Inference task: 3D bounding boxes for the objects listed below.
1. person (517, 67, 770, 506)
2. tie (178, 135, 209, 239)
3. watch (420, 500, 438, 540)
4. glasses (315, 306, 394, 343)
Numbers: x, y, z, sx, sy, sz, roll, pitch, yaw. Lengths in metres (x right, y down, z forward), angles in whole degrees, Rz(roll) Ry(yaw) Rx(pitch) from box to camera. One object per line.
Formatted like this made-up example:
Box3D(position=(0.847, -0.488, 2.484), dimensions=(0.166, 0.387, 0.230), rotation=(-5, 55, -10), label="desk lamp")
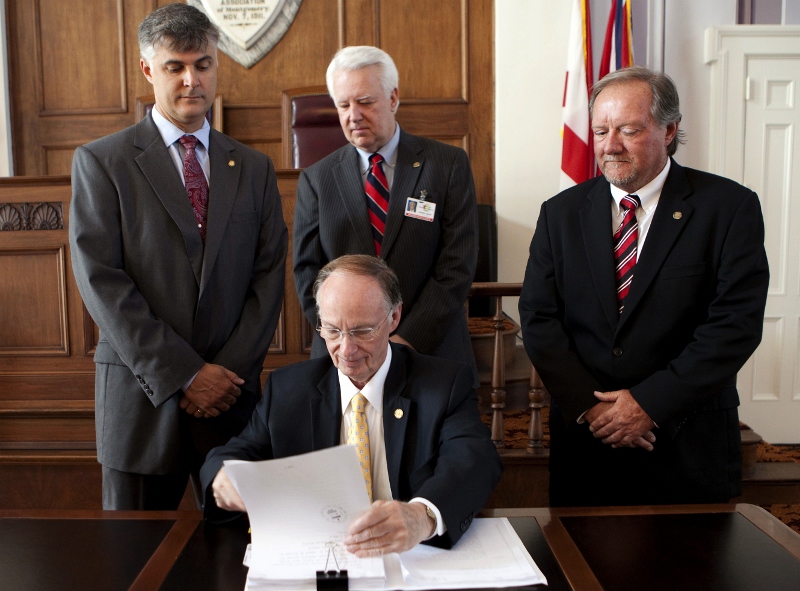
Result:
Box3D(position=(0.851, -0.013, 2.482), dimensions=(0.839, 1.551, 0.479), rotation=(2, 11, 10), label="person")
Box3D(position=(-0.780, -0.426, 2.677), dimensions=(0.097, 0.452, 0.098), rotation=(-8, -15, -17), label="tie")
Box3D(position=(0.083, 0.603, 1.845), dimensions=(0.023, 0.075, 0.073), rotation=(-4, -17, -30), label="watch")
Box3D(position=(-0.134, 0.093, 2.110), dimensions=(0.223, 0.082, 0.128), rotation=(-1, 11, -5), label="glasses")
